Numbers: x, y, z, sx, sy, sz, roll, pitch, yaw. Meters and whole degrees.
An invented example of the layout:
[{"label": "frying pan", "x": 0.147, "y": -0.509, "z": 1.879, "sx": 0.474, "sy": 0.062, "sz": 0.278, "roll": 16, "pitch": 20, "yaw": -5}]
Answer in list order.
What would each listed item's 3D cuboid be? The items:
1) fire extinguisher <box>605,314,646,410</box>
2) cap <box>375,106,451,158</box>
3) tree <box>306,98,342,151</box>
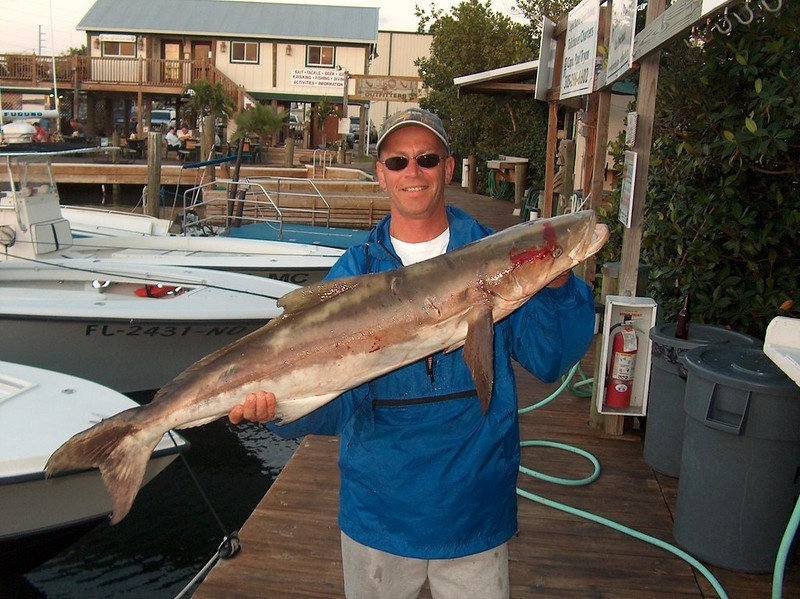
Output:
[{"label": "fire extinguisher", "x": 1.855, "y": 0.524, "z": 5.345, "sx": 0.357, "sy": 0.777, "sz": 0.208, "roll": 6, "pitch": 1, "yaw": 8}, {"label": "cap", "x": 0.080, "y": -0.808, "z": 3.050, "sx": 0.323, "sy": 0.207, "sz": 0.401, "roll": 2, "pitch": 0, "yaw": 5}, {"label": "tree", "x": -4.691, "y": -10.514, "z": 38.419, "sx": 2.268, "sy": 1.883, "sz": 1.592, "roll": 1, "pitch": 1, "yaw": 34}]
